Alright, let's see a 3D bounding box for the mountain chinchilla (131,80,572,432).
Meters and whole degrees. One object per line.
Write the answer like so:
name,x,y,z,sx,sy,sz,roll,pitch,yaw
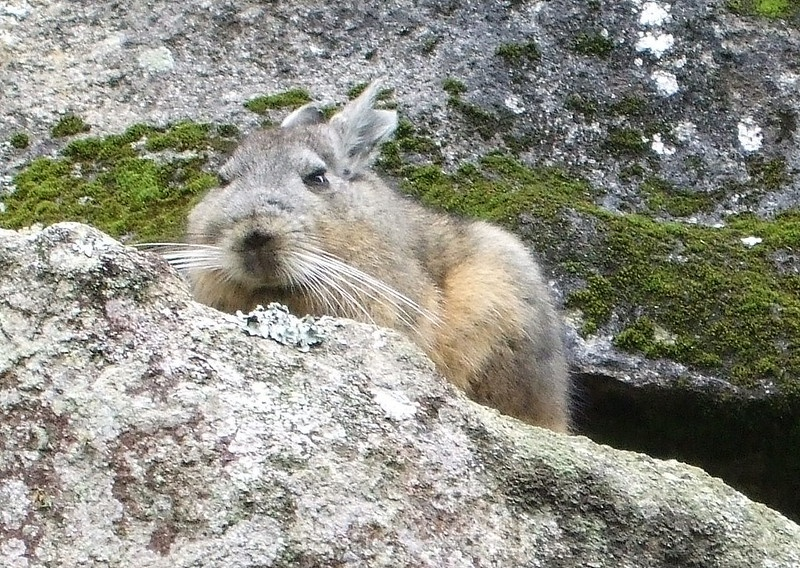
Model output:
mountain chinchilla,-0.095,0.212,13.596,2.949,3.465,6.910,-4,-5,26
